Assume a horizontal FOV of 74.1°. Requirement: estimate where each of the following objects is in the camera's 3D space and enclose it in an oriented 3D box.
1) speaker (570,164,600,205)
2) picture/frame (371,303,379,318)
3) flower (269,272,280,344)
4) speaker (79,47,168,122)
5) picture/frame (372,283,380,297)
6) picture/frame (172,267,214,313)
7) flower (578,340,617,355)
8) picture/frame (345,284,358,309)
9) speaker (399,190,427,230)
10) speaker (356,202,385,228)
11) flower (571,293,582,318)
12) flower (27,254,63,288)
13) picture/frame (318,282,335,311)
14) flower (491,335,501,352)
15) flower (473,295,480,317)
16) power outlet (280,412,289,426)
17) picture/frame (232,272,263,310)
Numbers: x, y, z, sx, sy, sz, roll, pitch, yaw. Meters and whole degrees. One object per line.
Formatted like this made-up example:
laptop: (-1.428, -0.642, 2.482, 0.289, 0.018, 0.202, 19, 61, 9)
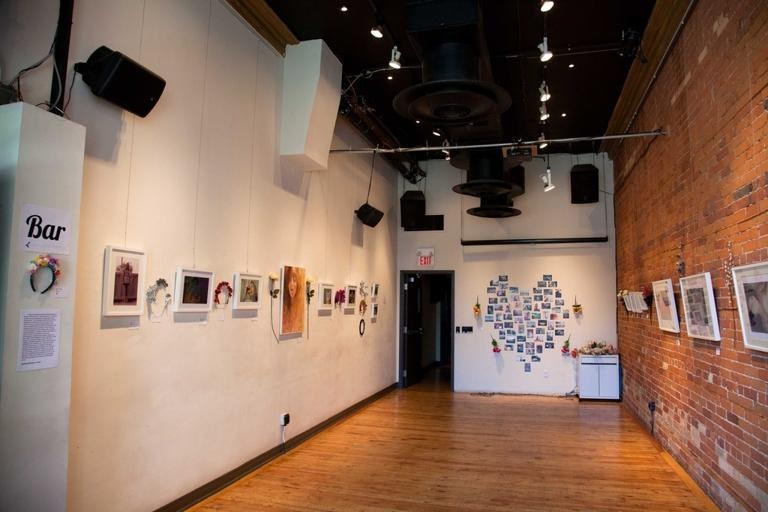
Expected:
speaker: (4.339, -1.558, 11.025, 0.582, 0.851, 0.416, 0, -1, 22)
picture/frame: (-0.191, 1.112, 10.378, 0.148, 0.332, 0.328, 0, -1, 20)
flower: (-1.515, 0.715, 7.018, 0.050, 0.922, 0.231, 0, -1, 20)
speaker: (-2.511, -1.673, 4.955, 0.575, 0.415, 0.595, 32, 12, 18)
picture/frame: (-0.178, 0.694, 10.484, 0.129, 0.278, 0.281, -2, -7, 17)
picture/frame: (-2.155, 0.391, 5.793, 0.067, 0.495, 0.544, 0, -5, 22)
flower: (4.465, 1.918, 10.643, 0.748, 0.228, 0.473, 0, -2, 23)
picture/frame: (-0.603, 0.738, 9.262, 0.069, 0.375, 0.419, -1, -8, 21)
speaker: (0.655, -1.061, 11.738, 0.714, 1.345, 0.728, 0, -6, 4)
speaker: (-0.298, -0.842, 9.733, 0.424, 0.326, 0.445, 14, -12, 32)
flower: (4.156, 1.085, 10.922, 0.213, 0.467, 0.153, 0, -1, 20)
flower: (-2.872, 0.124, 4.307, 0.193, 0.268, 0.092, 11, -6, -44)
picture/frame: (-0.955, 0.660, 8.316, 0.045, 0.343, 0.454, -5, -6, 19)
flower: (2.491, 1.954, 11.327, 0.164, 0.319, 0.123, -18, -2, 24)
flower: (2.090, 1.141, 11.426, 0.166, 0.436, 0.099, 0, -1, 11)
power outlet: (-1.403, 2.288, 7.136, 0.067, 0.186, 0.199, -1, -7, 14)
picture/frame: (-1.733, 0.450, 6.520, 0.052, 0.428, 0.489, 1, -4, 23)
